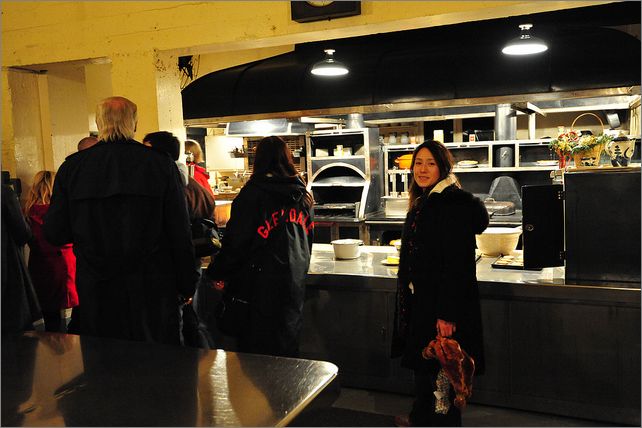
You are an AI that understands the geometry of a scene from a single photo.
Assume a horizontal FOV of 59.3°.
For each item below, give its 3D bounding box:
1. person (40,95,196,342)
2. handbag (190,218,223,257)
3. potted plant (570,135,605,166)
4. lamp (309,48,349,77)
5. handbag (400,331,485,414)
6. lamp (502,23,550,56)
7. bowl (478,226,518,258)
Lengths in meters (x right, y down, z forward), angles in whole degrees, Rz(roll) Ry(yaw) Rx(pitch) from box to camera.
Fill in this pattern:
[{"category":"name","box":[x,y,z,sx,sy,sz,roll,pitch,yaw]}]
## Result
[{"category":"person","box":[-1.399,0.056,3.960,1.006,1.741,0.237,0,3,-4]},{"category":"handbag","box":[-0.974,0.186,4.445,0.291,0.253,0.285,-8,-5,-3]},{"category":"potted plant","box":[2.195,-0.498,4.652,0.242,0.164,0.309,-5,0,13]},{"category":"lamp","box":[0.105,-1.594,5.870,0.256,0.263,0.345,2,4,42]},{"category":"handbag","box":[0.869,1.138,3.899,0.395,0.521,0.279,-4,-3,30]},{"category":"lamp","box":[1.985,-1.603,5.360,0.379,0.182,0.385,9,18,39]},{"category":"bowl","box":[1.575,0.253,5.025,0.422,0.212,0.415,-1,4,0]}]
